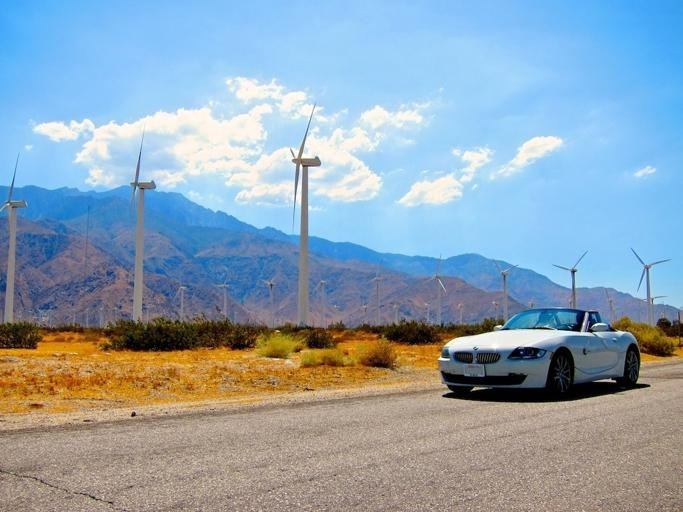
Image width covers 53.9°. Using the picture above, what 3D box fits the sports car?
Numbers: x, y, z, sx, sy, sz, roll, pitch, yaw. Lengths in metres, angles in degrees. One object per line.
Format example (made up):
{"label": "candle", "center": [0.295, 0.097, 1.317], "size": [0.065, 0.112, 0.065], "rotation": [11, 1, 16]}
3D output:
{"label": "sports car", "center": [4.779, 2.149, 15.439], "size": [5.462, 1.940, 2.165], "rotation": [7, -10, -38]}
